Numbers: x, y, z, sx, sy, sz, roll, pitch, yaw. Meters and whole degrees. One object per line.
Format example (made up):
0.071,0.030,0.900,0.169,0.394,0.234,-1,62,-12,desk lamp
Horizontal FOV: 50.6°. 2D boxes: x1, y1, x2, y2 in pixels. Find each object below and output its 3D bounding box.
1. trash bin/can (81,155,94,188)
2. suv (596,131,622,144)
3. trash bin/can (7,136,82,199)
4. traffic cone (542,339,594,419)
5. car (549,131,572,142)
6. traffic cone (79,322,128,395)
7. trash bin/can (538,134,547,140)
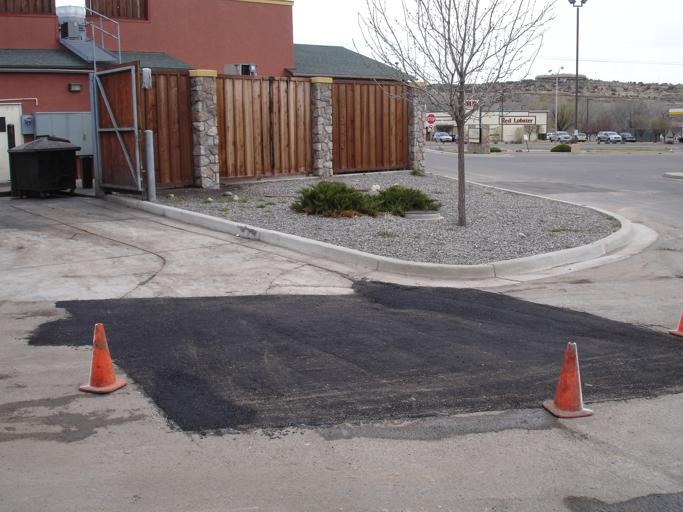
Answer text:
-6.978,-2.318,19.998,0.322,0.873,0.343,-2,6,-13,trash bin/can
29.163,-12.956,79.087,1.543,1.091,2.931,-3,6,-13,suv
-7.333,-2.300,18.420,1.716,1.619,1.547,10,16,36,trash bin/can
2.189,1.123,6.965,0.452,0.706,0.617,2,12,18,traffic cone
24.782,-13.747,82.105,1.742,1.211,3.568,-2,5,-10,car
-2.391,1.000,7.264,0.608,0.606,0.589,-5,3,-3,traffic cone
26.203,-15.621,94.598,1.067,1.042,1.066,0,4,7,trash bin/can
